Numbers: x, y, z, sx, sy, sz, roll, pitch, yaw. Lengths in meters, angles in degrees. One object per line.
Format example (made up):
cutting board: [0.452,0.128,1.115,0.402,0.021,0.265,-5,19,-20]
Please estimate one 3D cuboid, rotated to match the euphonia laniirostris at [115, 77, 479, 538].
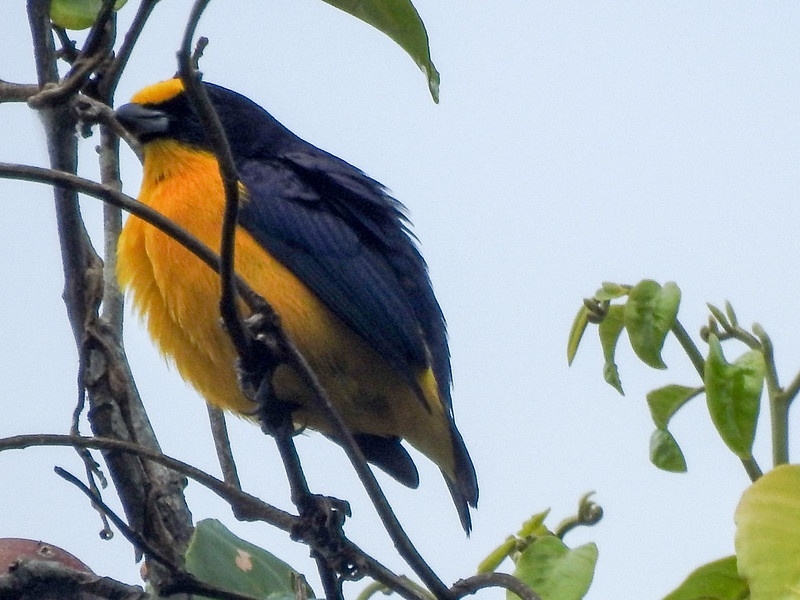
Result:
euphonia laniirostris: [-0.340,-0.040,4.496,0.613,1.415,1.116,-26,-41,26]
